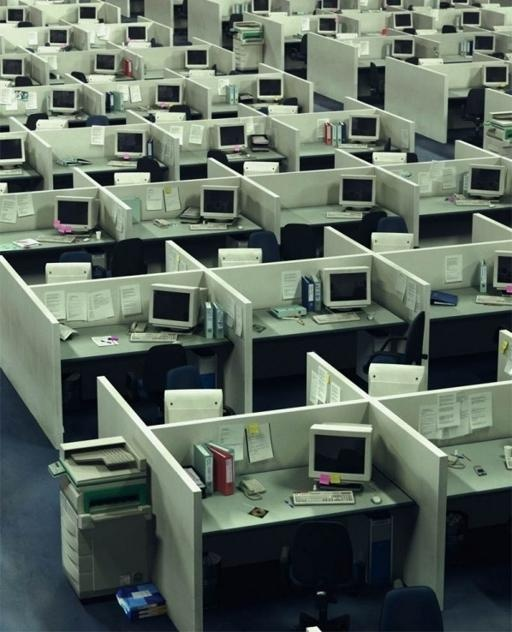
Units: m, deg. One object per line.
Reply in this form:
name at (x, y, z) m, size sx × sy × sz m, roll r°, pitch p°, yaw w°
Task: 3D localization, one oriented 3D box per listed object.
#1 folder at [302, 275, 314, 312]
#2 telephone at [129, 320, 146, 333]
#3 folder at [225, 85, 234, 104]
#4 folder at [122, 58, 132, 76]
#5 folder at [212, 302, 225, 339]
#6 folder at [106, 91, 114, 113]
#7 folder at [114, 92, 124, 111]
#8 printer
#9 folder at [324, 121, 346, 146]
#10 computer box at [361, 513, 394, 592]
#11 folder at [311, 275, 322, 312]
folder at (0.449, -0.203, 6.427) m, size 0.096 × 0.343 × 0.199 m, roll -4°, pitch 20°, yaw -10°
telephone at (-0.970, 0.084, 6.063) m, size 0.085 × 0.038 × 0.098 m, roll 1°, pitch 34°, yaw -1°
folder at (-0.461, -3.809, 12.583) m, size 0.098 × 0.273 × 0.272 m, roll -2°, pitch 22°, yaw -11°
folder at (-2.382, -4.598, 13.612) m, size 0.071 × 0.330 × 0.305 m, roll -7°, pitch 25°, yaw -31°
folder at (-0.309, 0.037, 5.893) m, size 0.096 × 0.309 × 0.266 m, roll -1°, pitch 0°, yaw -11°
folder at (-2.361, -3.461, 11.887) m, size 0.088 × 0.296 × 0.199 m, roll -7°, pitch 31°, yaw -18°
folder at (-2.217, -3.474, 11.882) m, size 0.096 × 0.297 × 0.256 m, roll -10°, pitch 18°, yaw -40°
printer at (-0.800, 1.084, 3.909) m, size 0.480 × 0.802 × 0.453 m, roll -8°, pitch 19°, yaw -22°
folder at (1.097, -2.714, 10.825) m, size 0.302 × 0.416 × 0.337 m, roll -5°, pitch 20°, yaw -15°
computer box at (0.652, 1.262, 3.932) m, size 0.157 × 0.387 × 0.111 m, roll -1°, pitch 16°, yaw -3°
folder at (0.515, -0.190, 6.418) m, size 0.080 × 0.264 × 0.246 m, roll -2°, pitch 10°, yaw -12°
